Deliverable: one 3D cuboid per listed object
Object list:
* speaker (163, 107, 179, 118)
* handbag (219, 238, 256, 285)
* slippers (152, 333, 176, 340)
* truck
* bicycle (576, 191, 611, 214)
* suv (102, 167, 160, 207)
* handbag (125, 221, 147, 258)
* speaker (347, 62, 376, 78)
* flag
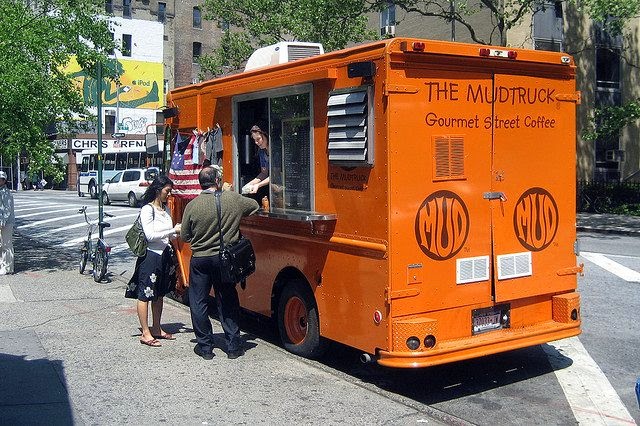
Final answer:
[{"bbox_3d":[-2.911,-2.000,11.095,0.236,0.155,0.241,7,15,22],"label":"speaker"},{"bbox_3d":[-1.261,0.725,8.506,0.372,0.676,0.685,-4,5,41],"label":"handbag"},{"bbox_3d":[-2.584,2.039,9.351,0.315,0.078,0.139,0,0,-1],"label":"slippers"},{"bbox_3d":[0.986,-0.106,8.457,5.474,4.626,2.773,5,10,27],"label":"truck"},{"bbox_3d":[13.884,-0.470,28.562,1.135,0.591,0.906,12,9,40],"label":"bicycle"},{"bbox_3d":[-9.495,-1.238,28.140,4.312,1.935,2.104,7,8,44],"label":"suv"},{"bbox_3d":[-2.942,0.416,9.057,0.273,0.694,0.532,-4,9,-25],"label":"handbag"},{"bbox_3d":[0.555,-1.896,7.491,0.099,0.210,0.440,-7,12,-42],"label":"speaker"},{"bbox_3d":[-2.363,-0.843,10.277,0.097,1.381,1.249,-3,5,-44],"label":"flag"}]
